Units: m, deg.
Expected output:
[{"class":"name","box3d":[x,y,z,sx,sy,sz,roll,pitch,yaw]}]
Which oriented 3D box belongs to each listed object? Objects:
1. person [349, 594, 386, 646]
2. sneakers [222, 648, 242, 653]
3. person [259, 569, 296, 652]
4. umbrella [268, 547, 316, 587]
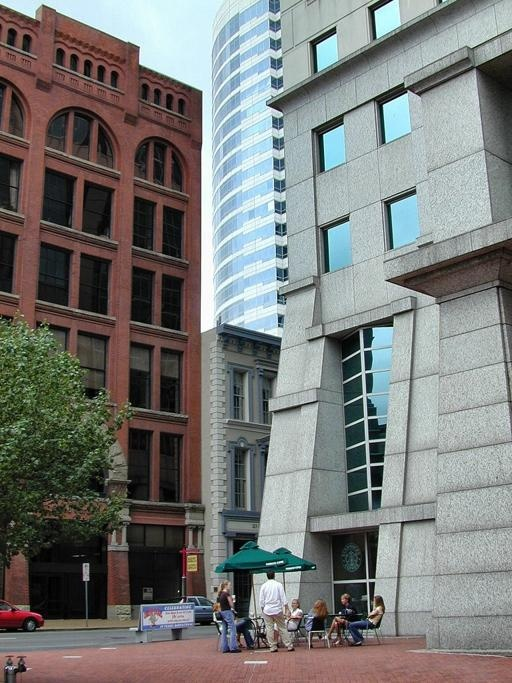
[{"class":"person","box3d":[2.297,5.858,16.280,0.602,0.926,1.277,-8,-17,22]},{"class":"sneakers","box3d":[-0.471,6.111,15.340,0.383,0.135,0.130,-1,-16,0]},{"class":"person","box3d":[0.387,5.216,14.952,0.607,1.511,1.189,-2,-16,2]},{"class":"umbrella","box3d":[0.811,5.168,18.176,1.145,0.843,1.029,-3,-9,17]}]
